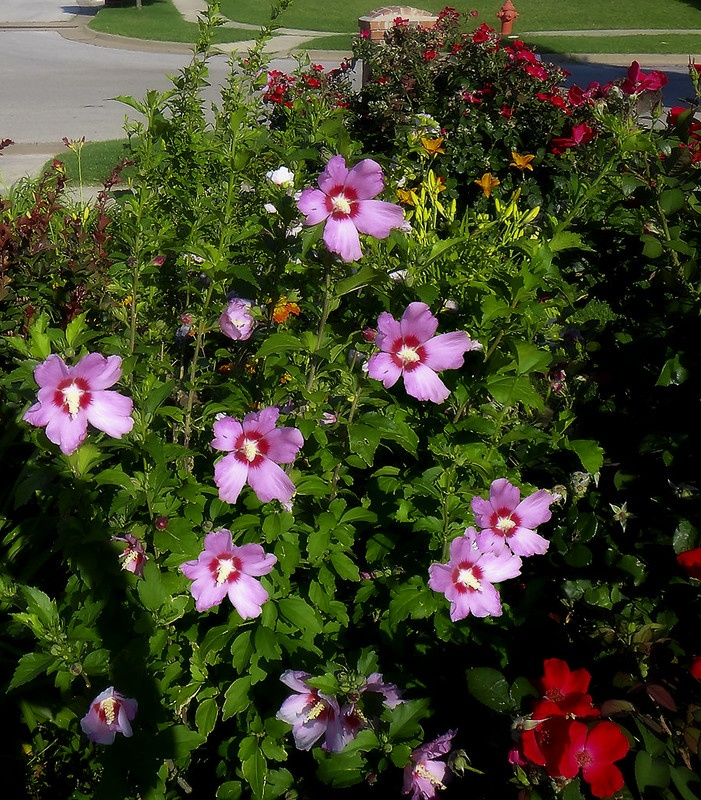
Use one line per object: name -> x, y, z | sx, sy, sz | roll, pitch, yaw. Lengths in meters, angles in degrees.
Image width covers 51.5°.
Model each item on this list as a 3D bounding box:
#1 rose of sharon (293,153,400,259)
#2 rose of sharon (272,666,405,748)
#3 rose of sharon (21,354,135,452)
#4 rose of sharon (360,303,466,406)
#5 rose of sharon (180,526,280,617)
rose of sharon -> -0.007, -0.397, 1.527 | 0.223, 0.213, 0.094 | -11, 32, -31
rose of sharon -> 0.002, 0.699, 1.667 | 0.103, 0.239, 0.216 | 32, 34, -61
rose of sharon -> -0.537, -0.013, 1.407 | 0.213, 0.188, 0.089 | 28, -12, -40
rose of sharon -> 0.160, -0.106, 1.677 | 0.256, 0.220, 0.116 | 0, 27, -12
rose of sharon -> -0.274, 0.403, 1.583 | 0.195, 0.292, 0.092 | -1, 28, -15
